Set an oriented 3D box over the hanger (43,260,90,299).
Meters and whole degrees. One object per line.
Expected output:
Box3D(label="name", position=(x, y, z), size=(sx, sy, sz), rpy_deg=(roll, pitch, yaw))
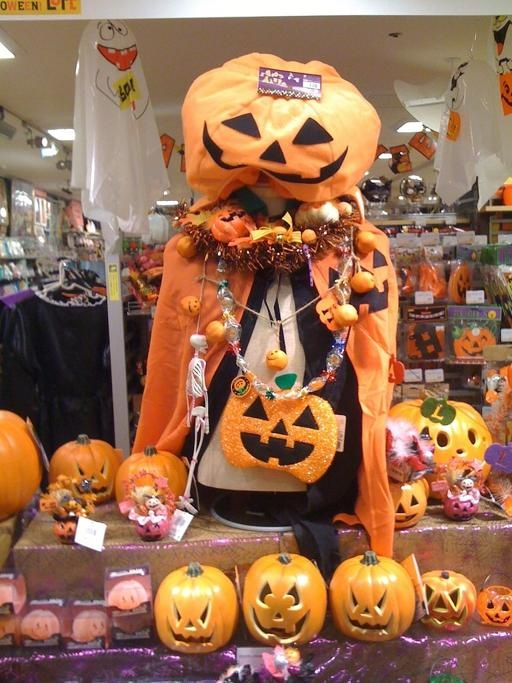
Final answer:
Box3D(label="hanger", position=(-0.985, -0.298, 2.721), size=(0.204, 0.143, 0.264), rpy_deg=(8, 32, 1))
